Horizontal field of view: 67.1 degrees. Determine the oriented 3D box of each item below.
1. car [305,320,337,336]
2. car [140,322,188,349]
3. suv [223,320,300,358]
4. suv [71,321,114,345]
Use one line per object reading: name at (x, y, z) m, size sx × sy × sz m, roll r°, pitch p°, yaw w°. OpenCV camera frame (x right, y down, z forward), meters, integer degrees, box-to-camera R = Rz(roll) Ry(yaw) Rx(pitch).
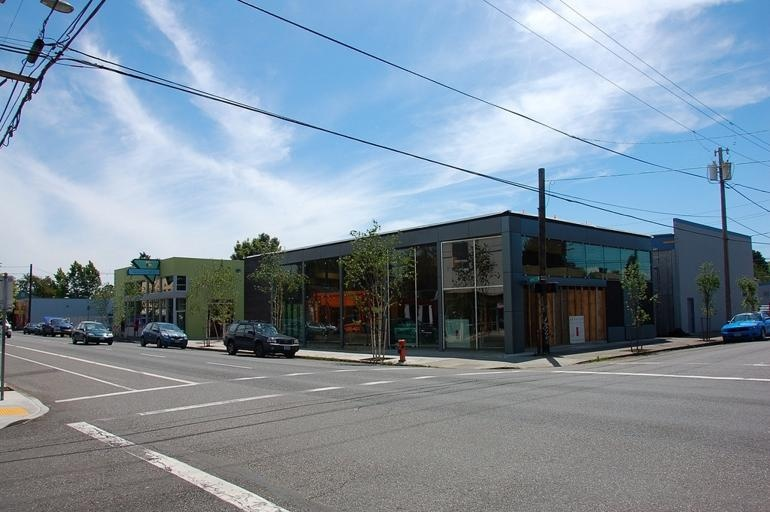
car at (-4.293, 4.825, 38.940) m, size 1.986 × 0.708 × 0.947 m, roll -4°, pitch -6°, yaw 16°
car at (-15.578, 5.529, 40.936) m, size 2.062 × 1.989 × 4.723 m, roll 6°, pitch -12°, yaw -35°
suv at (-6.800, 4.484, 31.668) m, size 4.824 × 2.069 × 1.419 m, roll -10°, pitch -13°, yaw 42°
suv at (-22.202, 5.680, 43.884) m, size 1.638 × 1.269 × 3.790 m, roll 7°, pitch -15°, yaw -34°
